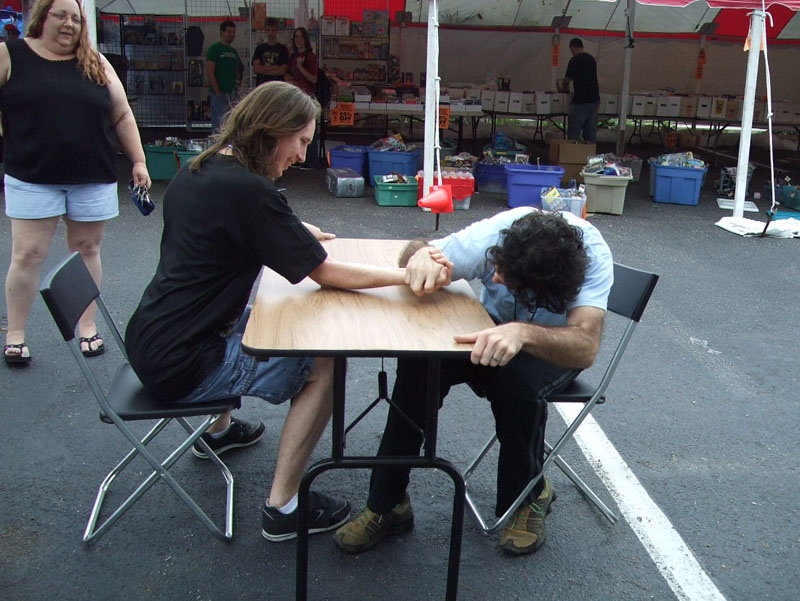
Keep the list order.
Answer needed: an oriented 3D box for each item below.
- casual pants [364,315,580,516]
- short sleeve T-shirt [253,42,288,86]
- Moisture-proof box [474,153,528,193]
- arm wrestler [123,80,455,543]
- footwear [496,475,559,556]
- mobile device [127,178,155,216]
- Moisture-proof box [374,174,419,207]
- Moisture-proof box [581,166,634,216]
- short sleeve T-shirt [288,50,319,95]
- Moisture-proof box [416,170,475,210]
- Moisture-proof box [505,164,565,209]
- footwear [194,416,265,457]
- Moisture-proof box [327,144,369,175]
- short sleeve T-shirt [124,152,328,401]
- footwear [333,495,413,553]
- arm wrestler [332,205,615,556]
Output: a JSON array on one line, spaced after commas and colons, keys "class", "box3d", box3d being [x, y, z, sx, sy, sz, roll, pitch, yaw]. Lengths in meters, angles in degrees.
[{"class": "casual pants", "box3d": [0.242, 0.510, 3.013, 0.839, 1.275, 0.703, -5, 20, -9]}, {"class": "short sleeve T-shirt", "box3d": [-2.383, -4.257, 10.786, 0.588, 0.791, 0.395, -11, 40, -20]}, {"class": "Moisture-proof box", "box3d": [1.582, -2.193, 10.306, 0.597, 0.421, 0.893, 2, 24, 5]}, {"class": "arm wrestler", "box3d": [-0.699, 0.010, 2.848, 1.070, 1.988, 1.055, -5, 17, -27]}, {"class": "footwear", "box3d": [0.603, 1.047, 2.783, 0.149, 0.165, 0.408, 2, 35, 32]}, {"class": "mobile device", "box3d": [-1.827, -0.729, 4.229, 0.109, 0.180, 0.280, -14, 64, -46]}, {"class": "Moisture-proof box", "box3d": [-0.051, -1.614, 8.782, 0.498, 0.335, 0.518, 1, 18, -7]}, {"class": "Moisture-proof box", "box3d": [3.072, -1.419, 8.969, 0.773, 0.788, 0.607, 3, 61, 28]}, {"class": "short sleeve T-shirt", "box3d": [-1.772, -4.125, 10.636, 0.620, 0.819, 0.397, 35, 49, 21]}, {"class": "Moisture-proof box", "box3d": [0.804, -1.689, 8.832, 0.608, 0.481, 0.737, 0, 7, 4]}, {"class": "Moisture-proof box", "box3d": [1.967, -1.702, 8.901, 0.856, 0.587, 0.680, 4, 23, 4]}, {"class": "footwear", "box3d": [-0.943, 0.761, 3.381, 0.409, 0.188, 0.149, -17, 25, -34]}, {"class": "Moisture-proof box", "box3d": [-0.871, -2.383, 9.913, 0.598, 0.465, 0.512, -4, 25, -9]}, {"class": "short sleeve T-shirt", "box3d": [-0.762, -0.150, 2.734, 0.798, 1.037, 0.871, 10, 21, 3]}, {"class": "footwear", "box3d": [-0.117, 1.069, 2.863, 0.429, 0.215, 0.158, -17, 17, -27]}, {"class": "arm wrestler", "box3d": [0.367, 0.313, 2.707, 1.136, 1.468, 0.881, 1, 14, -18]}]
